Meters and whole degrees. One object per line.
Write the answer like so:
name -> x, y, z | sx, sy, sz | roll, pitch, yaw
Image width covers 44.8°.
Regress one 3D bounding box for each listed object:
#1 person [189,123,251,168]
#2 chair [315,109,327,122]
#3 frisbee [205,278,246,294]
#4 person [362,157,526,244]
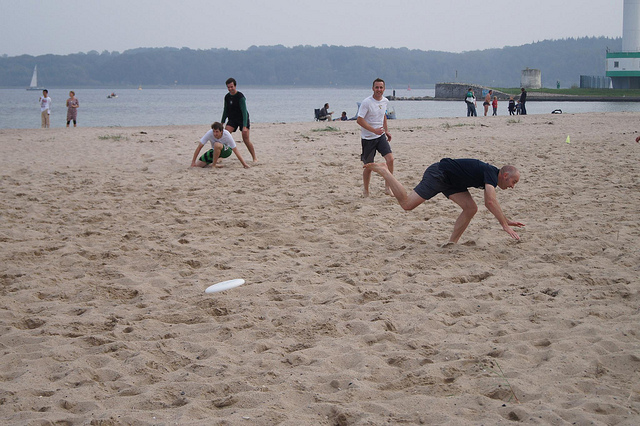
person -> -2.077, -1.410, 16.395 | 1.362, 0.931, 0.809 | 2, 7, 10
chair -> -0.071, -4.295, 33.715 | 0.382, 0.476, 0.376 | -5, 8, -38
frisbee -> -1.353, 1.021, 11.126 | 0.363, 0.051, 0.225 | -14, 9, -30
person -> 2.072, -0.176, 12.122 | 2.172, 1.360, 0.612 | 4, 12, 12
